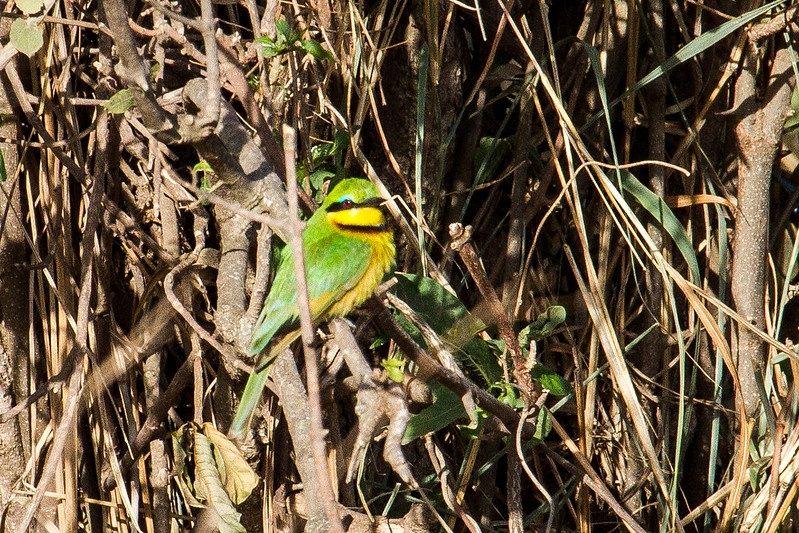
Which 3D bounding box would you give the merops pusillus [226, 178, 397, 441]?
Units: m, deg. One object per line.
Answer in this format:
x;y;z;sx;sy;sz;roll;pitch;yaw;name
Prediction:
-0.413;0.175;5.020;0.368;0.525;1.145;22;69;42;merops pusillus
